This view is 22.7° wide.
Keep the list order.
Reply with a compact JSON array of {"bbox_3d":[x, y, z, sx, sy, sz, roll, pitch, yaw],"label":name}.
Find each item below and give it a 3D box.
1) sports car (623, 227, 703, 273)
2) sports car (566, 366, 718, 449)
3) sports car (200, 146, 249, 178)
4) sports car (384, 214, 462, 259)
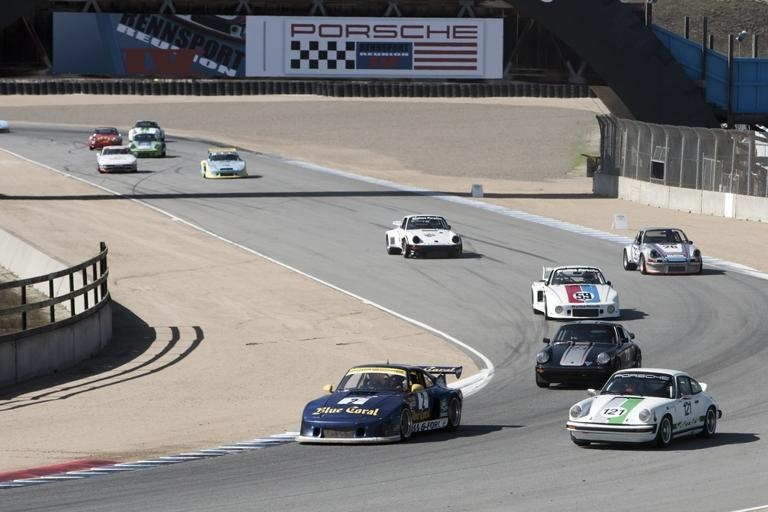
[{"bbox_3d":[11.460,-0.378,79.060,3.159,1.806,1.576,2,12,12],"label":"sports car"},{"bbox_3d":[8.813,4.829,65.213,3.502,1.787,6.171,5,9,29],"label":"sports car"},{"bbox_3d":[-8.299,-4.902,98.511,2.262,1.251,2.592,-1,11,-2],"label":"sports car"},{"bbox_3d":[1.647,-0.954,81.145,3.082,1.717,1.586,0,11,4],"label":"sports car"}]
